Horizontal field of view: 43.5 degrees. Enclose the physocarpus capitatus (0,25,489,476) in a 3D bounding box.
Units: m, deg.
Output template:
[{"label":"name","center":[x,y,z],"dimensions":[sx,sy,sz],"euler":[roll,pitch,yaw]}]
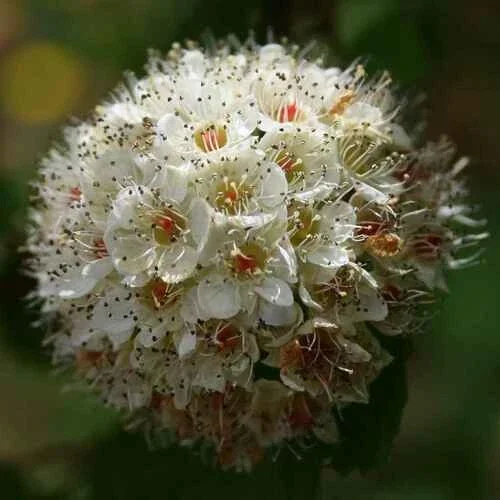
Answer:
[{"label":"physocarpus capitatus","center":[-0.071,-0.009,2.630],"dimensions":[1.831,0.954,1.755],"euler":[17,79,3]}]
